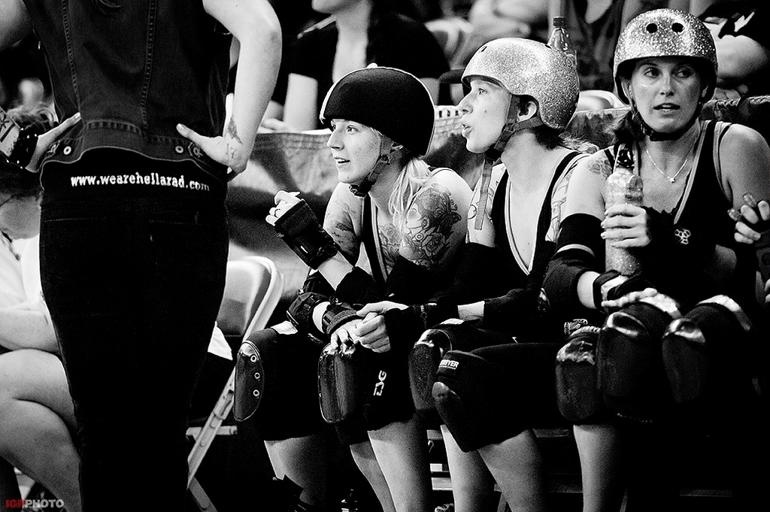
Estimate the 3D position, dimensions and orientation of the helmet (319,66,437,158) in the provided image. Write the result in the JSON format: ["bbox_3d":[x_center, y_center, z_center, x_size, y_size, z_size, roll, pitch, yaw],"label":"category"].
[{"bbox_3d":[-0.023,-0.639,4.265,0.429,0.404,0.337,-4,10,-10],"label":"helmet"}]

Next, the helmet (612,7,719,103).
[{"bbox_3d":[1.115,-0.863,3.855,0.326,0.317,0.398,0,-40,8],"label":"helmet"}]

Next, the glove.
[{"bbox_3d":[-0.343,-0.092,4.212,0.205,0.299,0.104,-37,14,-2],"label":"glove"}]

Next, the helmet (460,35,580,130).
[{"bbox_3d":[0.574,-0.715,4.180,0.414,0.370,0.347,8,6,-3],"label":"helmet"}]
